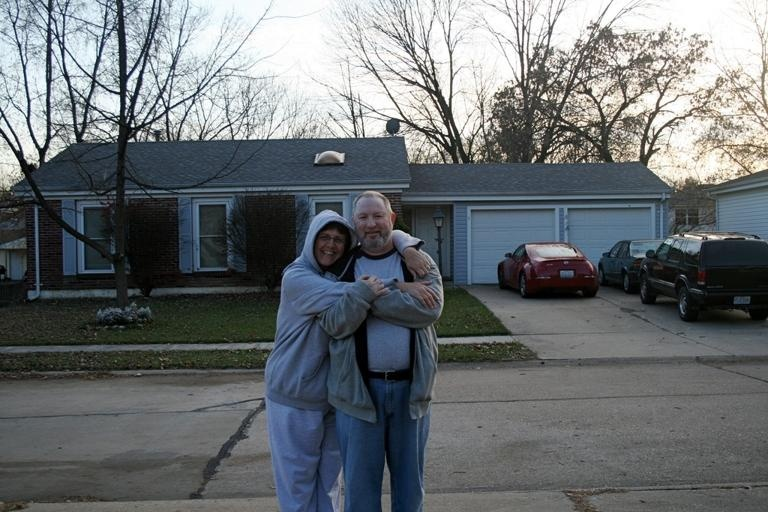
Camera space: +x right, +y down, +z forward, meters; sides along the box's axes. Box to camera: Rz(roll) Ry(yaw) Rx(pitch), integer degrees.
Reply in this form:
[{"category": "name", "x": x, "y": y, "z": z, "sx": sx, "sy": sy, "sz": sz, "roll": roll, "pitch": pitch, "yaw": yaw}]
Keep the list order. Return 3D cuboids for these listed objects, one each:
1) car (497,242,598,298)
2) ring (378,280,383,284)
[{"category": "car", "x": 4.624, "y": 0.273, "z": 21.267, "sx": 1.388, "sy": 0.883, "sz": 2.722, "roll": -1, "pitch": 5, "yaw": -7}, {"category": "ring", "x": -0.029, "y": 0.275, "z": 8.165, "sx": 0.035, "sy": 0.031, "sz": 0.032, "roll": 1, "pitch": -10, "yaw": 0}]
